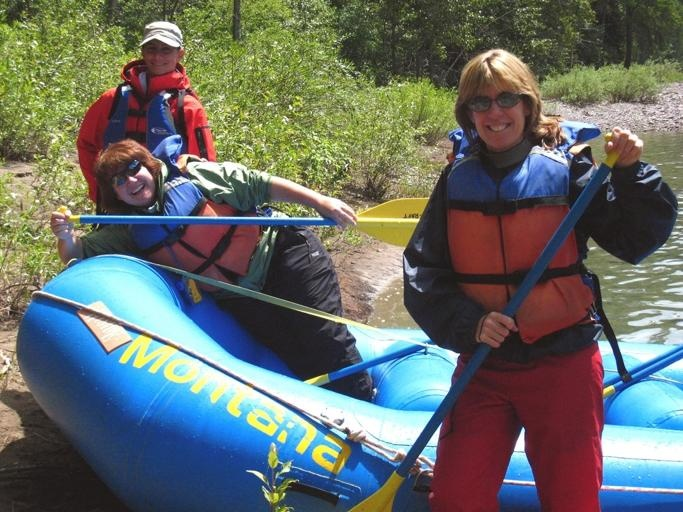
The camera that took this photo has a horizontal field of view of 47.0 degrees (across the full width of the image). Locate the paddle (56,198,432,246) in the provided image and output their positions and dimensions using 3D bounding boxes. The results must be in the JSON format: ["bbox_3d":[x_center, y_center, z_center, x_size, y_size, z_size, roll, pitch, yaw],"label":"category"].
[{"bbox_3d":[-0.690,-0.216,4.897,2.104,0.331,0.364,0,46,-6],"label":"paddle"}]
